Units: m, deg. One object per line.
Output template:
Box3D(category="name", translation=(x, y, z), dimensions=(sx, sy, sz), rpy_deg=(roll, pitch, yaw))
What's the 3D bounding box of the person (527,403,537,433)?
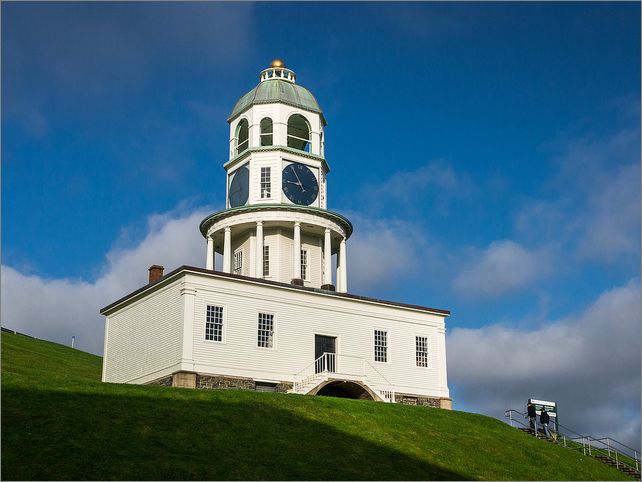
Box3D(category="person", translation=(14.284, 11.982, 55.527), dimensions=(0.463, 1.520, 2.136), rpy_deg=(12, 7, 7))
